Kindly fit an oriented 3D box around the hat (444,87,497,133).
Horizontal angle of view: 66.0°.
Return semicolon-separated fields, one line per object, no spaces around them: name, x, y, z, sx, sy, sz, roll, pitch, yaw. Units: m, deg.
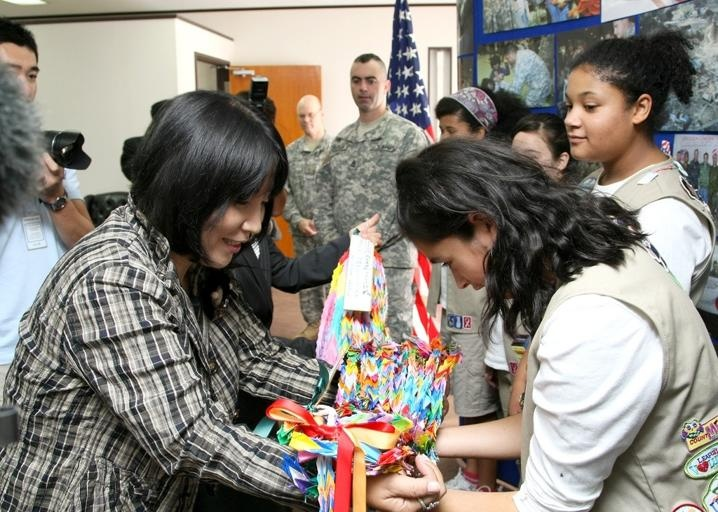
hat;0.550;-0.686;2.612;0.119;0.227;0.171;-40;20;-13
